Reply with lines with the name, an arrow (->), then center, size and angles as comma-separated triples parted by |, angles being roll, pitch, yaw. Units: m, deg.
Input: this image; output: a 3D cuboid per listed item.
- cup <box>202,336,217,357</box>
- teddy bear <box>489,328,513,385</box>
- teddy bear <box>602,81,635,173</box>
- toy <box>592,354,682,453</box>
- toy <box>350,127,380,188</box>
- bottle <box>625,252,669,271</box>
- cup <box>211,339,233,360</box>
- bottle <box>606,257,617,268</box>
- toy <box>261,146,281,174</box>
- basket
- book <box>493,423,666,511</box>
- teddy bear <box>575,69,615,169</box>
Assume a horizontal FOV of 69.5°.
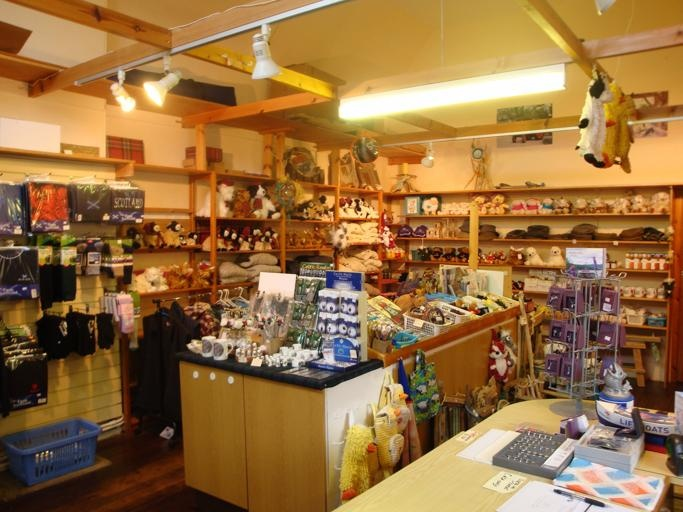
cup -> -1.072, 0.716, 3.909 | 0.141, 0.148, 0.138 | 1, 2, 0
teddy bear -> 1.668, 1.026, 5.119 | 0.168, 0.547, 0.344 | 2, 3, 41
teddy bear -> 2.264, -1.059, 4.033 | 0.243, 0.785, 0.559 | 6, 5, 32
toy -> 1.727, 0.862, 2.935 | 0.263, 0.363, 0.655 | 2, 1, -38
toy -> 0.266, -1.294, 6.408 | 0.378, 0.769, 0.195 | -3, 2, -37
bottle -> 4.432, 0.085, 7.170 | 0.522, 0.240, 0.211 | 0, 2, 14
cup -> -0.945, 0.729, 3.869 | 0.151, 0.150, 0.113 | 2, 3, 43
bottle -> 4.036, 0.101, 7.385 | 0.167, 0.143, 0.088 | 0, -2, -37
toy -> -1.020, -1.398, 7.132 | 0.323, 0.338, 1.281 | 7, 11, -11
basket -> -2.746, 1.841, 4.663 | 0.794, 0.394, 0.529 | -1, 2, -34
book -> 1.238, 1.094, 2.520 | 0.442, 0.049, 0.442 | 3, 9, 42
teddy bear -> 2.015, -1.105, 3.918 | 0.234, 0.748, 0.360 | 1, 2, 28
